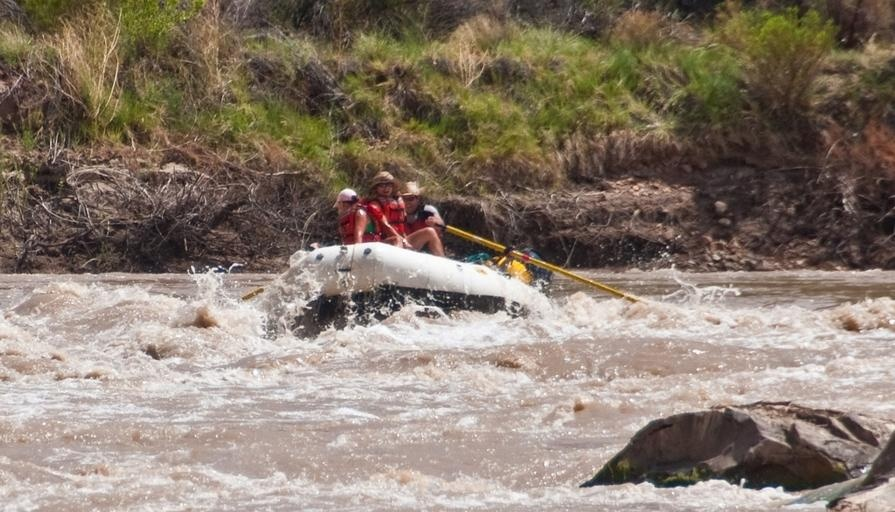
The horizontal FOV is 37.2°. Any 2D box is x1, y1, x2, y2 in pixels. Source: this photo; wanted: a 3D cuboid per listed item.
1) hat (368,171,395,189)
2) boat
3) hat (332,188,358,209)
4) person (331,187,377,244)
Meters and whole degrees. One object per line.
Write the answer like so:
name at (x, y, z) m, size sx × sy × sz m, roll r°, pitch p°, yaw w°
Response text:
hat at (-1.469, -1.711, 29.538) m, size 0.617 × 0.282 × 0.694 m, roll -2°, pitch -21°, yaw -9°
boat at (-0.870, 0.703, 28.497) m, size 3.985 × 0.889 × 2.245 m, roll 5°, pitch 4°, yaw -26°
hat at (-2.336, -1.242, 29.641) m, size 0.623 × 0.474 × 0.450 m, roll 5°, pitch 3°, yaw 20°
person at (-2.036, -0.761, 29.038) m, size 0.689 × 1.079 × 1.326 m, roll -8°, pitch 16°, yaw -20°
